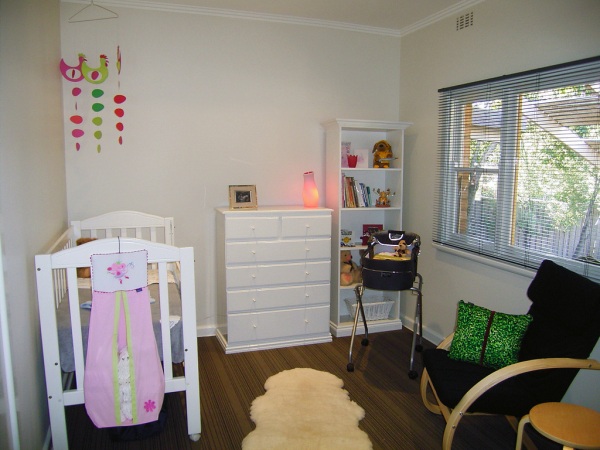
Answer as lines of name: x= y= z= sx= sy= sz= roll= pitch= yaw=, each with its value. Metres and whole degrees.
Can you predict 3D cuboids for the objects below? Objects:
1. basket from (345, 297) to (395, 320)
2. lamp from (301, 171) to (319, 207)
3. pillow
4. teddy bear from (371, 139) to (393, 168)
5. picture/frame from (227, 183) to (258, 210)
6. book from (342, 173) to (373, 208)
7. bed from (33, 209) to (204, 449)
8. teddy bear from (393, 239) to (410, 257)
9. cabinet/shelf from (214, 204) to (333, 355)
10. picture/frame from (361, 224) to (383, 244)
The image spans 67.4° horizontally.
basket: x=0.815 y=0.895 z=4.757 sx=0.229 sy=0.135 sz=0.362 roll=0 pitch=-2 yaw=-12
lamp: x=0.072 y=-0.370 z=4.584 sx=0.114 sy=0.353 sz=0.226 roll=-11 pitch=17 yaw=-39
pillow: x=1.326 y=0.779 z=3.176 sx=0.439 sy=0.448 sz=0.145 roll=10 pitch=-8 yaw=37
teddy bear: x=0.862 y=-0.751 z=4.721 sx=0.204 sy=0.272 sz=0.179 roll=0 pitch=14 yaw=-2
picture/frame: x=-0.562 y=-0.276 z=4.318 sx=0.239 sy=0.265 sz=0.029 roll=-1 pitch=-5 yaw=-14
book: x=0.572 y=-0.357 z=4.679 sx=0.349 sy=0.365 sz=0.153 roll=1 pitch=-2 yaw=-21
bed: x=-1.252 y=0.543 z=3.818 sx=0.936 sy=1.599 sz=1.926 roll=-3 pitch=7 yaw=-18
teddy bear: x=0.903 y=0.200 z=4.000 sx=0.134 sy=0.151 sz=0.085 roll=0 pitch=13 yaw=-2
cabinet/shelf: x=-0.258 y=0.519 z=4.295 sx=1.162 sy=1.553 sz=0.710 roll=-2 pitch=6 yaw=-16
picture/frame: x=0.743 y=0.089 z=4.862 sx=0.207 sy=0.221 sz=0.052 roll=-1 pitch=-7 yaw=5
